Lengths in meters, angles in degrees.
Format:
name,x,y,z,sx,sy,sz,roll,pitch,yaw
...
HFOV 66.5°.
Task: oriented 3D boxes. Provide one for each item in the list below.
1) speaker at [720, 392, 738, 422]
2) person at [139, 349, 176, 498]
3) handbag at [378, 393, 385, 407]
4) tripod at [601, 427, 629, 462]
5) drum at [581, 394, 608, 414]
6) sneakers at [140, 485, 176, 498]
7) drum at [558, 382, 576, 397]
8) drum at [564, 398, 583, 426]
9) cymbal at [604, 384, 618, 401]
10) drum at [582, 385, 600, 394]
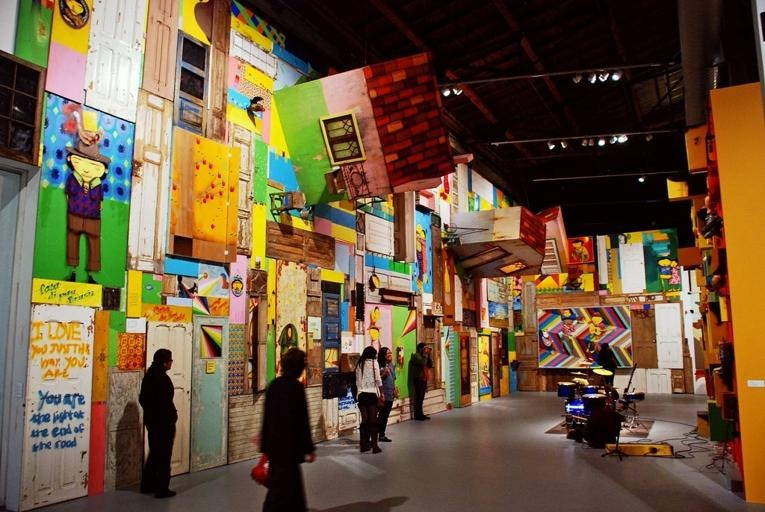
name,x,y,z,sx,sy,sz,roll,pitch,yaw
speaker,4.888,2.139,8.239,0.183,0.373,0.109,-1,-5,14
person,-3.055,2.274,7.964,0.502,1.962,0.323,1,-5,-10
handbag,-0.016,2.562,10.218,0.068,0.237,0.164,4,27,-9
tripod,4.034,3.258,10.041,0.367,0.518,0.411,18,-15,-27
drum,3.993,2.795,11.010,0.387,0.351,0.385,-5,-6,37
sneakers,-3.058,3.203,7.930,0.513,0.218,0.177,-1,-7,10
drum,3.892,2.906,12.346,0.361,0.324,0.371,0,-2,3
drum,3.746,3.074,11.421,0.468,0.539,0.439,-2,-5,14
cymbal,4.521,2.715,11.526,0.315,0.340,0.361,-1,-10,36
drum,4.136,2.679,11.605,0.208,0.158,0.208,1,-5,0
